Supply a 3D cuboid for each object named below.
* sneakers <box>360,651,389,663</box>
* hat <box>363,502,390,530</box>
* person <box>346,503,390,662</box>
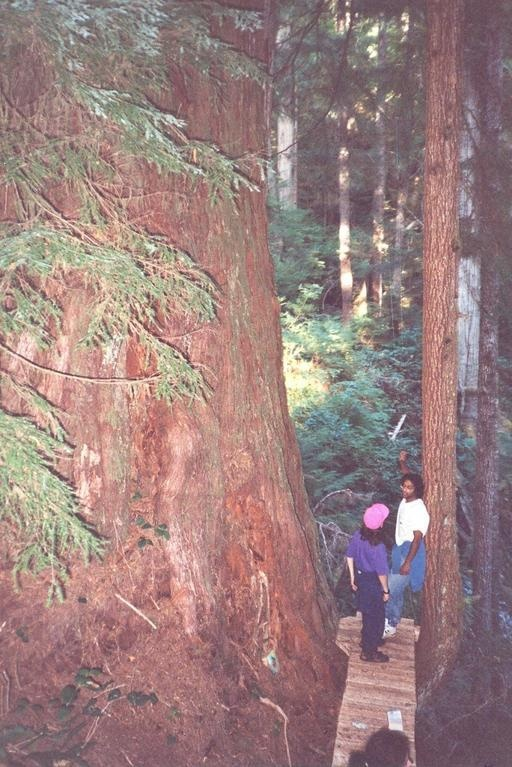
[{"bbox_3d":[1.203,2.727,9.716,0.289,0.126,0.211,4,-21,3],"label":"sneakers"},{"bbox_3d":[1.169,1.278,9.422,0.222,0.236,0.300,2,3,37],"label":"hat"},{"bbox_3d":[1.146,1.957,9.579,0.413,1.608,0.496,0,2,-22],"label":"person"}]
